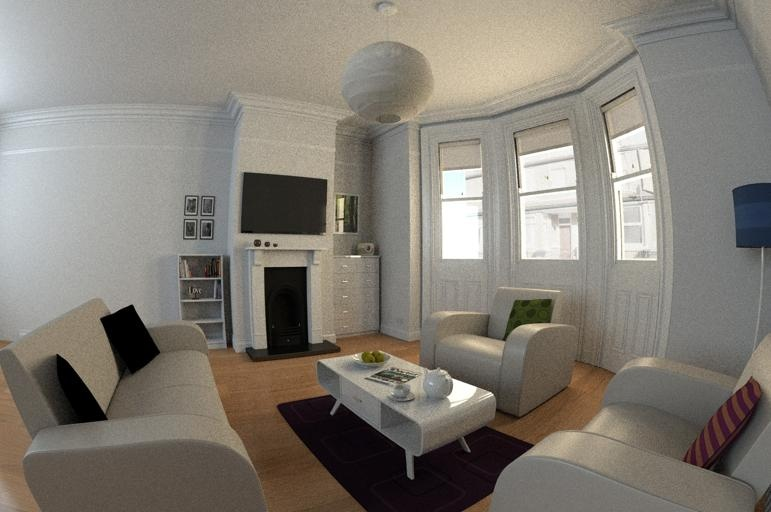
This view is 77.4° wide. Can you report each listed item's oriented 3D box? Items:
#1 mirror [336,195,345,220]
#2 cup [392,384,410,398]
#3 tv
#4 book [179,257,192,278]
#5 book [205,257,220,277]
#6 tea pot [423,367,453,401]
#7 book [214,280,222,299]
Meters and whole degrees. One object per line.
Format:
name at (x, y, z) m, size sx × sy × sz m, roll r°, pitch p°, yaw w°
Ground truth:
mirror at (-0.690, -0.737, 7.382) m, size 0.199 × 0.407 × 0.079 m, roll -2°, pitch 4°, yaw -16°
cup at (0.121, 1.070, 3.782) m, size 0.098 × 0.066 × 0.121 m, roll 3°, pitch -11°, yaw -43°
tv at (-1.331, -0.674, 6.343) m, size 1.139 × 0.812 × 0.094 m, roll -3°, pitch 5°, yaw -26°
book at (-2.683, 0.165, 6.420) m, size 0.236 × 0.237 × 0.087 m, roll -1°, pitch 0°, yaw -35°
book at (-2.359, 0.149, 6.520) m, size 0.271 × 0.268 × 0.233 m, roll -2°, pitch 4°, yaw -8°
tea pot at (0.413, 1.041, 3.892) m, size 0.194 × 0.187 × 0.255 m, roll 2°, pitch 3°, yaw -10°
book at (-2.290, 0.466, 6.512) m, size 0.174 × 0.256 × 0.064 m, roll 2°, pitch 6°, yaw 41°
